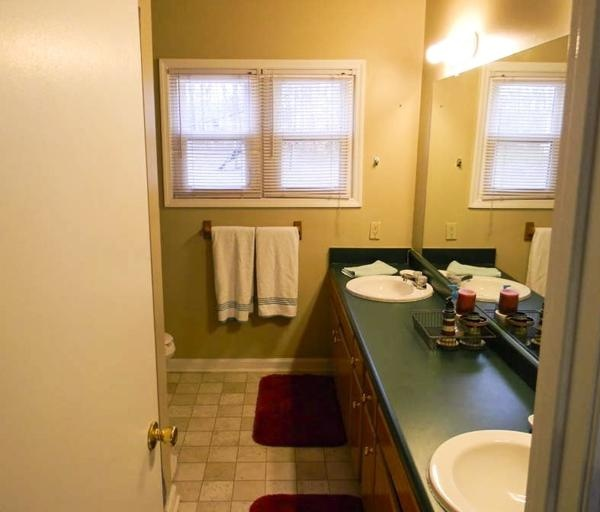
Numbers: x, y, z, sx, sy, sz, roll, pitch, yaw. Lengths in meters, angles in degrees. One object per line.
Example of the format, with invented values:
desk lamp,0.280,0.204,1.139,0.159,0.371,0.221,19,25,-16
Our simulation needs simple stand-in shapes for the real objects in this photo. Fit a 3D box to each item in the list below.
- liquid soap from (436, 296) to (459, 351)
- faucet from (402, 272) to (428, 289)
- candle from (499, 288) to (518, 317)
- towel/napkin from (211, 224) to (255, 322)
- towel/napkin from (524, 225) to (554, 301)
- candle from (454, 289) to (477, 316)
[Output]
liquid soap,0.576,0.261,2.010,0.078,0.175,0.096,4,15,35
faucet,0.635,0.132,2.867,0.059,0.083,0.169,-1,7,-13
candle,0.806,0.178,2.011,0.073,0.096,0.080,-1,3,-1
towel/napkin,-0.415,0.113,3.381,0.286,0.634,0.163,-6,12,-6
towel/napkin,0.861,0.017,1.773,0.154,0.236,0.040,5,0,44
candle,0.714,0.200,2.243,0.085,0.115,0.093,3,16,10
